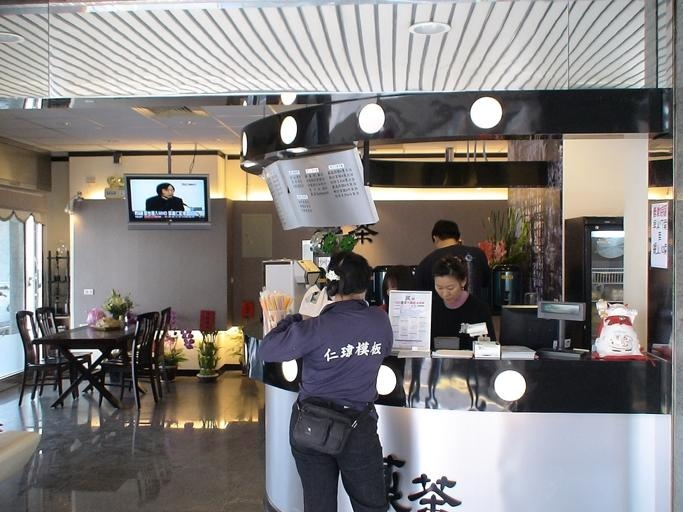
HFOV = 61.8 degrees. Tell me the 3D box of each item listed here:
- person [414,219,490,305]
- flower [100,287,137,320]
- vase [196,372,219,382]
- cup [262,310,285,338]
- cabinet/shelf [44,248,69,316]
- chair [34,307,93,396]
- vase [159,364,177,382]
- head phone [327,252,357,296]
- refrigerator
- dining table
[{"bbox_3d":[1.108,0.179,5.785,0.700,1.058,0.574,-4,1,-12],"label":"person"},{"bbox_3d":[-3.382,0.714,8.660,0.468,0.528,0.454,4,-2,-19],"label":"flower"},{"bbox_3d":[-2.124,1.901,9.034,0.302,0.155,0.230,-1,3,-13],"label":"vase"},{"bbox_3d":[-0.529,0.505,4.261,0.182,0.225,0.192,1,2,0],"label":"cup"},{"bbox_3d":[-4.853,0.418,9.750,0.378,1.118,0.395,0,2,-6],"label":"cabinet/shelf"},{"bbox_3d":[-4.068,1.391,8.403,0.766,1.318,0.784,3,-2,-24],"label":"chair"},{"bbox_3d":[-2.728,1.830,8.916,0.271,0.238,0.284,0,-7,0],"label":"vase"},{"bbox_3d":[-0.010,0.097,3.437,0.157,0.245,0.165,0,-20,-12],"label":"head phone"},{"bbox_3d":[2.402,0.178,5.472,0.528,1.108,0.576,1,2,26],"label":"refrigerator"},{"bbox_3d":[-3.576,1.643,8.162,0.895,0.858,1.680,-2,-8,-16],"label":"dining table"}]
